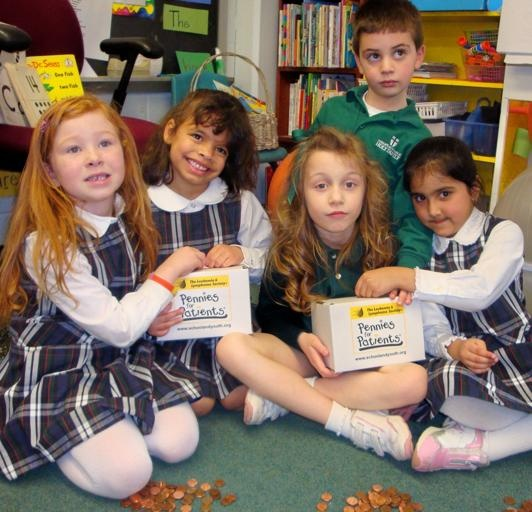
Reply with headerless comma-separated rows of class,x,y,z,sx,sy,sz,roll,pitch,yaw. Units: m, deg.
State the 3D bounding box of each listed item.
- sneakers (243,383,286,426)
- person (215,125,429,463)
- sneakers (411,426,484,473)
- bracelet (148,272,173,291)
sneakers,-0.004,0.387,1.195,0.122,0.071,0.046,7,26,-41
person,0.180,0.128,1.272,0.576,0.848,0.460,9,27,15
sneakers,0.403,0.430,1.029,0.185,0.071,0.070,-2,11,-11
bracelet,-0.247,0.061,1.094,0.047,0.030,0.046,31,4,15
